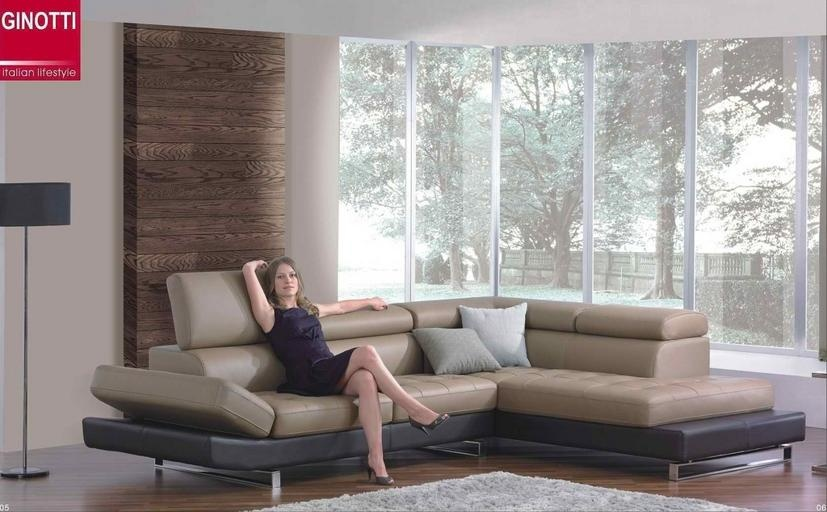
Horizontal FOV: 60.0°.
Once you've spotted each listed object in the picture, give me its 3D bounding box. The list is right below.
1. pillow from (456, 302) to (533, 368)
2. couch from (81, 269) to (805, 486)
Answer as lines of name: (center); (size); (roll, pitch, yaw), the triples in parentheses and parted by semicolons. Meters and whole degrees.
pillow: (0.796, 0.692, 6.239); (0.277, 0.540, 0.720); (-7, -1, -44)
couch: (0.192, 1.011, 5.098); (3.071, 0.915, 2.649); (1, -2, -44)
